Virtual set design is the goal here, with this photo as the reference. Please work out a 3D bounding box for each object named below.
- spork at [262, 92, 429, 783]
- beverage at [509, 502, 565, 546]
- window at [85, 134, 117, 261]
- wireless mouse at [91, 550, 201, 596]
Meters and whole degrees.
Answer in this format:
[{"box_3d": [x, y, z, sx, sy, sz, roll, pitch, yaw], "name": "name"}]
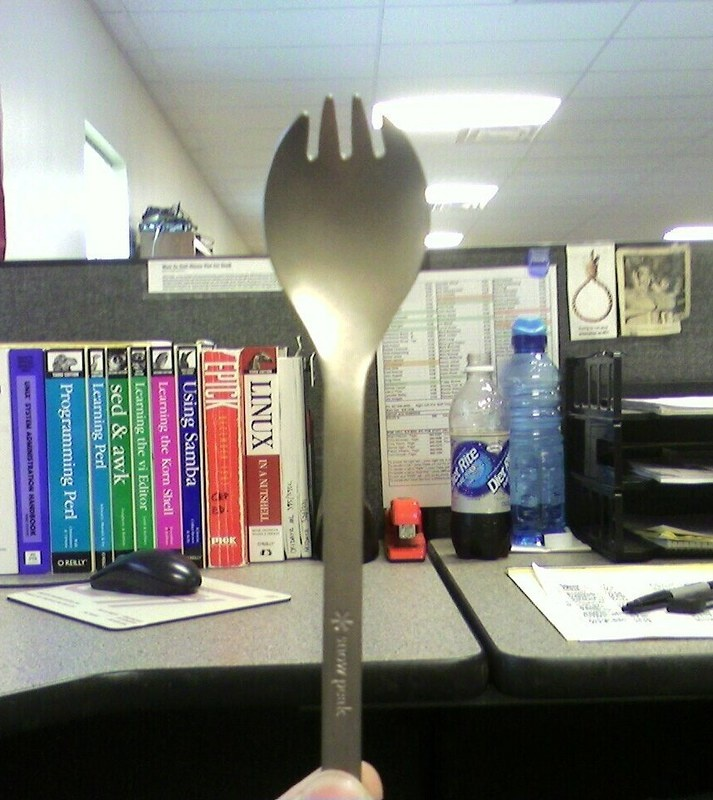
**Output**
[{"box_3d": [-0.011, -0.031, 0.531, 0.102, 0.487, 0.036, 1, -12, 4], "name": "spork"}, {"box_3d": [0.232, 0.160, 1.074, 0.059, 0.054, 0.019, 0, -17, 0], "name": "beverage"}, {"box_3d": [-0.896, -0.707, 2.946, 0.088, 0.407, 0.386, -4, 2, -11], "name": "window"}, {"box_3d": [-0.219, 0.169, 0.855, 0.085, 0.030, 0.049, 2, -4, 13], "name": "wireless mouse"}]
